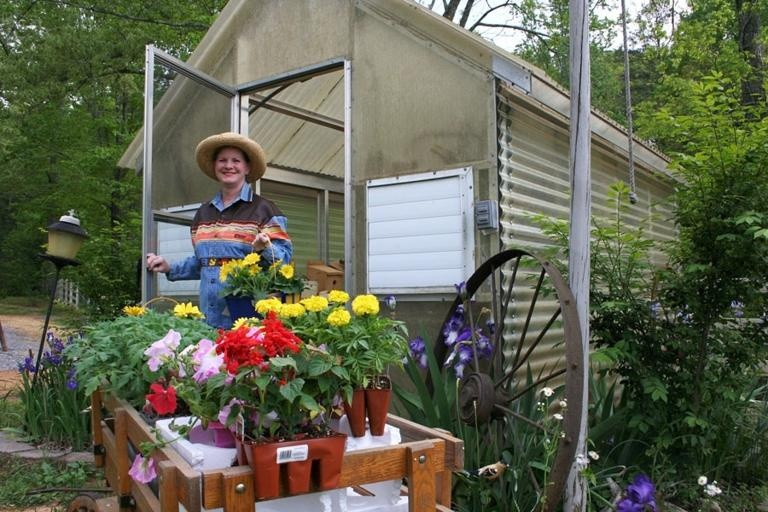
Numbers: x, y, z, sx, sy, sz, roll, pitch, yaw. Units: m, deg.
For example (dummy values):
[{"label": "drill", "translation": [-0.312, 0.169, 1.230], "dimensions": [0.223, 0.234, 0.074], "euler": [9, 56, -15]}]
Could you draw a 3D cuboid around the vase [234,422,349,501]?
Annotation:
[{"label": "vase", "translation": [-0.440, 1.034, 3.309], "dimensions": [0.425, 0.252, 0.302], "euler": [1, -9, -18]}]

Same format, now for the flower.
[{"label": "flower", "translation": [-0.491, 0.666, 3.455], "dimensions": [1.121, 0.886, 1.023], "euler": [5, -18, -29]}]
